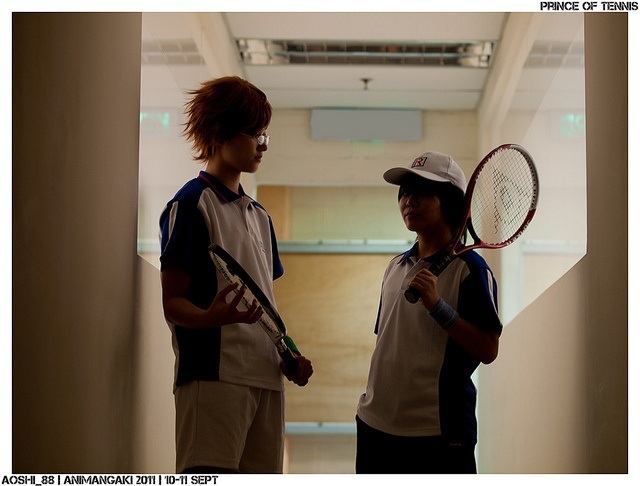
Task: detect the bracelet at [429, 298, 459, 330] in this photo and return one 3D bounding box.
[{"bbox_3d":[0.394,0.227,1.839,0.069,0.080,0.100,6,-16,47],"label":"bracelet"}]

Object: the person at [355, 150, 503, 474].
[{"bbox_3d":[0.382,0.245,1.981,0.459,1.128,0.420,4,6,10],"label":"person"}]

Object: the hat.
[{"bbox_3d":[0.393,-0.251,2.067,0.234,0.127,0.165,27,-14,-25],"label":"hat"}]

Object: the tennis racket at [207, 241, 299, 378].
[{"bbox_3d":[-0.185,0.206,1.720,0.307,0.404,0.103,-1,7,-37],"label":"tennis racket"}]
